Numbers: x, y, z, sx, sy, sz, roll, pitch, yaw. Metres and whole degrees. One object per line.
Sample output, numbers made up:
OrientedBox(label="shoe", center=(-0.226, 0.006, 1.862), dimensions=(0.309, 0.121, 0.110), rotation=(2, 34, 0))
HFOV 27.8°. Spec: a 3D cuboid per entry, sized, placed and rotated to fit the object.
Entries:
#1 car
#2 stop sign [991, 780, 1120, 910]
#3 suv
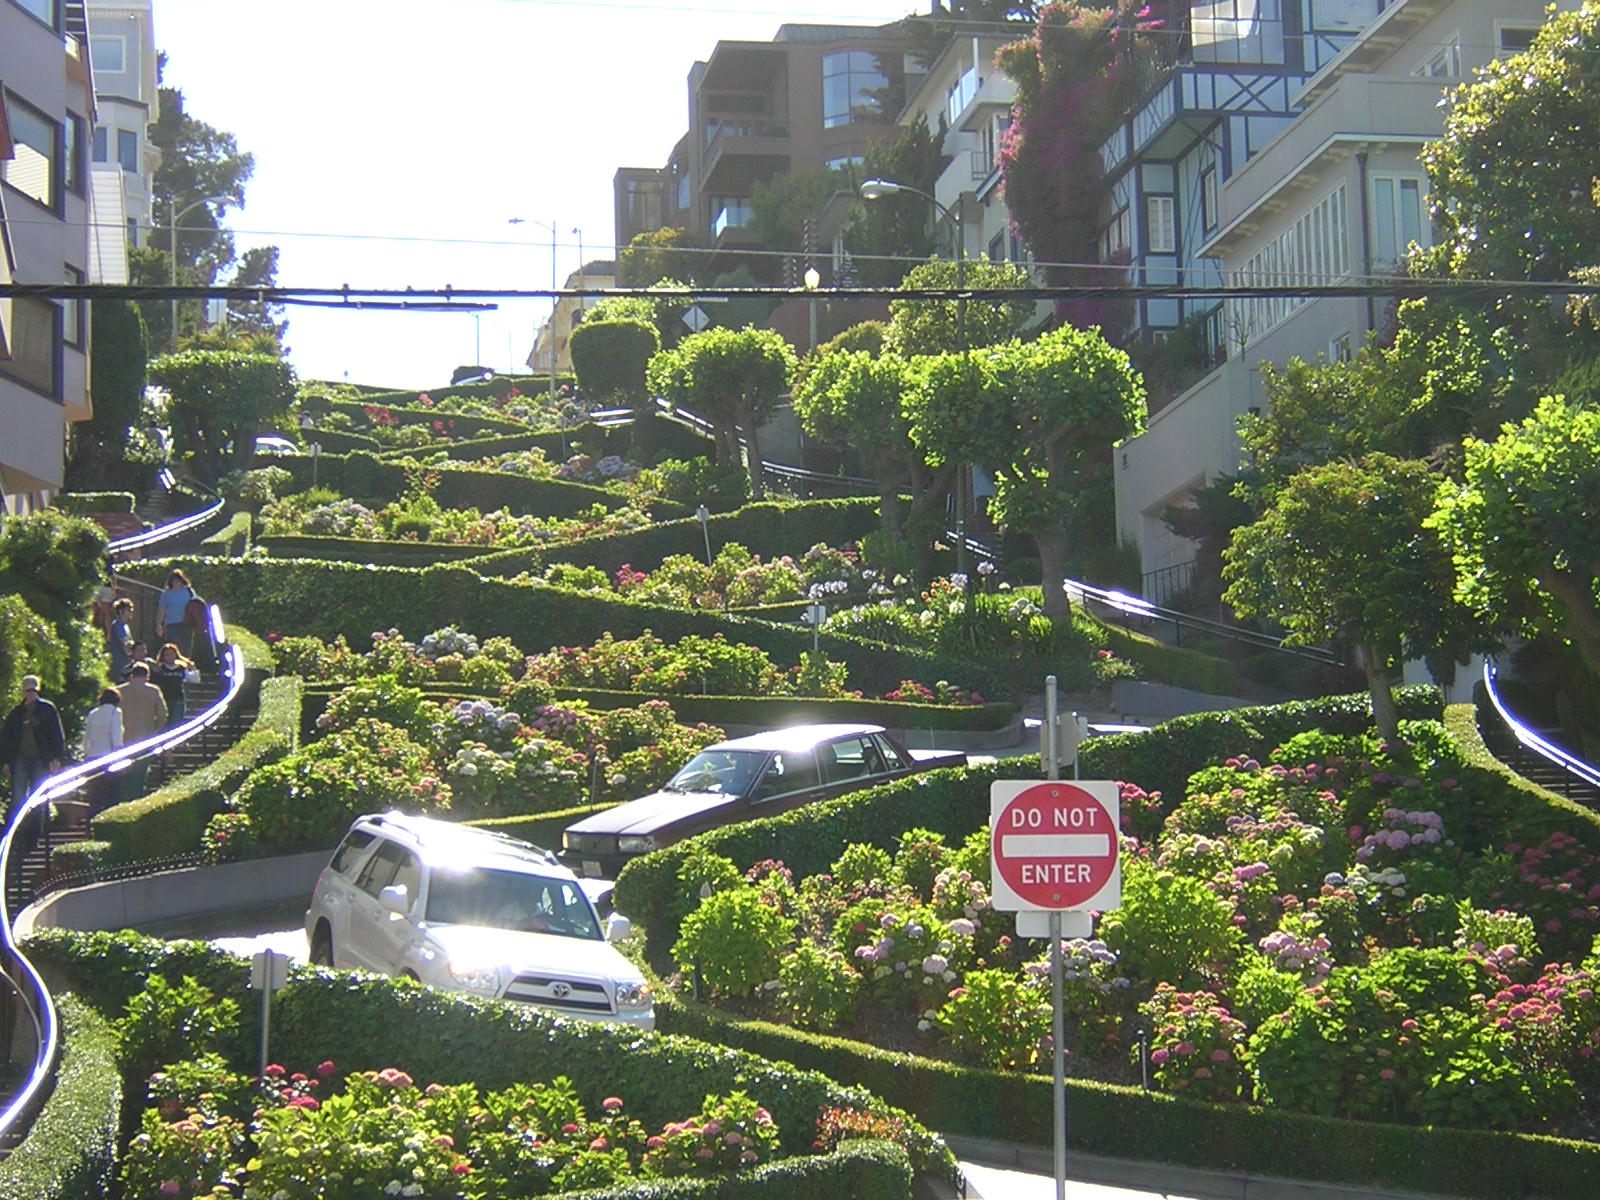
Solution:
OrientedBox(label="car", center=(-0.855, 3.138, 50.135), dimensions=(5.752, 2.291, 1.663), rotation=(2, -1, -36))
OrientedBox(label="stop sign", center=(3.194, 3.080, 40.167), dimensions=(1.564, 1.630, 0.234), rotation=(1, -1, 3))
OrientedBox(label="suv", center=(-4.679, 5.030, 46.272), dimensions=(3.457, 3.436, 7.248), rotation=(10, -2, -27))
